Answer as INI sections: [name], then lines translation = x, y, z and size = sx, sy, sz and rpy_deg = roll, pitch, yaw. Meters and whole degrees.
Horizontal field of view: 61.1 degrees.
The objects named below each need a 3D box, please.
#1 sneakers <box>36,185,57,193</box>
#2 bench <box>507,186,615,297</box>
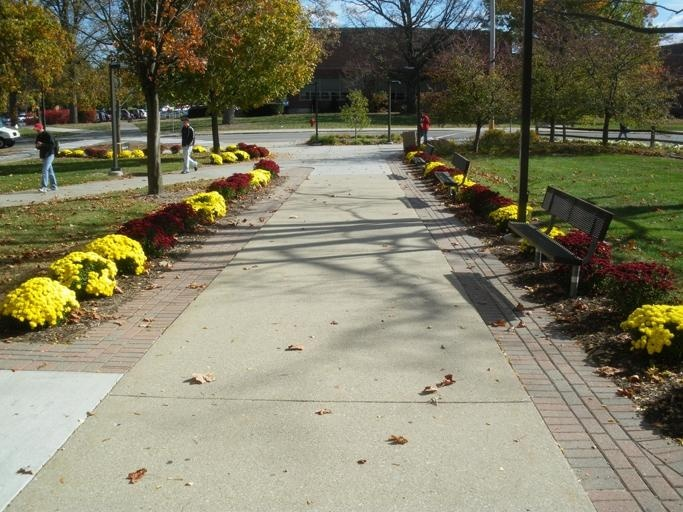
[sneakers]
translation = -9.040, -2.025, 17.503
size = 0.755, 0.223, 0.214
rpy_deg = 2, 6, -13
[bench]
translation = 3.381, -0.184, 9.020
size = 0.919, 1.045, 2.254
rpy_deg = -3, 18, 2
